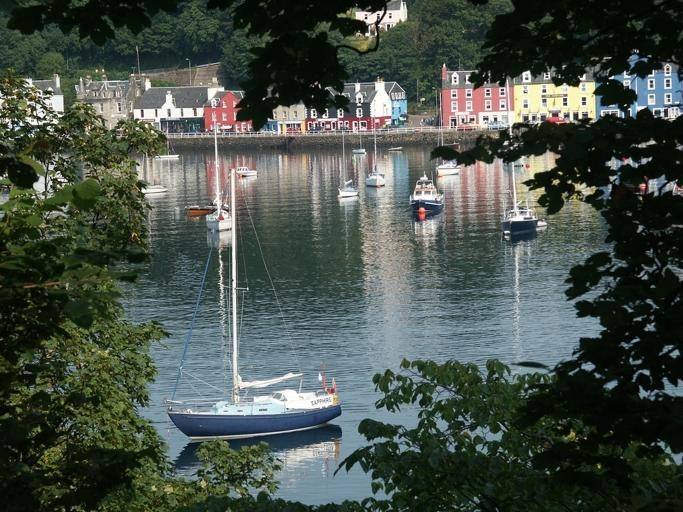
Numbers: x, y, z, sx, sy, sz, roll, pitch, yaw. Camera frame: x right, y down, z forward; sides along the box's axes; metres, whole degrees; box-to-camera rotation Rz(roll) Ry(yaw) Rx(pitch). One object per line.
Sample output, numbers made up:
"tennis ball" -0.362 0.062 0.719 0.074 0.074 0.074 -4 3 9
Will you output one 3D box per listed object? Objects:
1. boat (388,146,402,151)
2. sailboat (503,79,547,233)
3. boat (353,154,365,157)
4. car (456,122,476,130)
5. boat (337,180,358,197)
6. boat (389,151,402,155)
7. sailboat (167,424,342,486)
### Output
"boat" 5.233 -10.370 128.066 1.309 0.332 1.796 -2 9 -1
"sailboat" 7.613 -2.790 57.650 1.000 3.499 3.081 -6 0 33
"boat" 1.747 -9.402 123.251 1.060 0.094 3.422 -2 9 0
"car" 11.841 -12.482 127.096 1.619 0.793 0.846 2 4 10
"boat" 0.484 -3.859 77.845 0.651 0.858 2.204 1 3 21
"boat" 5.085 -9.878 125.827 1.138 0.102 4.838 -2 9 3
"sailboat" -1.915 3.927 32.303 4.074 0.937 1.290 -3 16 -17
